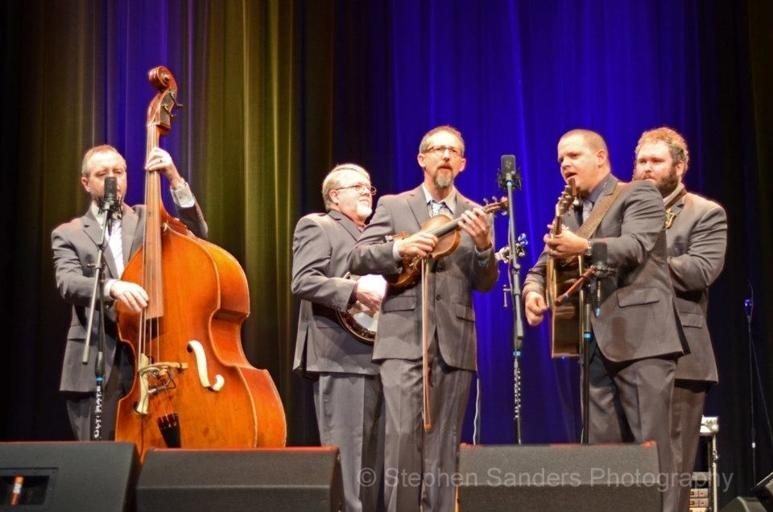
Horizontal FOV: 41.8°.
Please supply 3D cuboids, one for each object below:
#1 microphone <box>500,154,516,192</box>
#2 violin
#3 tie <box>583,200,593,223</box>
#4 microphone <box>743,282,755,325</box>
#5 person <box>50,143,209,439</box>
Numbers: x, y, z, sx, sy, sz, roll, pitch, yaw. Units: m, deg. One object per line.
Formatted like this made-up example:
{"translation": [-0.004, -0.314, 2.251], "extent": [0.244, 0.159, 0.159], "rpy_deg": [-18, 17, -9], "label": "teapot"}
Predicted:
{"translation": [0.875, -0.598, 7.266], "extent": [0.151, 0.307, 0.271], "rpy_deg": [-1, -8, 7], "label": "microphone"}
{"translation": [0.456, -0.159, 7.361], "extent": [0.942, 0.401, 0.140], "rpy_deg": [-29, -55, 14], "label": "violin"}
{"translation": [1.502, -0.324, 7.577], "extent": [0.078, 0.166, 0.034], "rpy_deg": [0, -5, 44], "label": "tie"}
{"translation": [3.225, 0.423, 9.039], "extent": [0.085, 0.350, 0.021], "rpy_deg": [1, -7, -7], "label": "microphone"}
{"translation": [-2.087, 0.193, 7.884], "extent": [0.928, 2.679, 0.913], "rpy_deg": [-1, 9, -15], "label": "person"}
